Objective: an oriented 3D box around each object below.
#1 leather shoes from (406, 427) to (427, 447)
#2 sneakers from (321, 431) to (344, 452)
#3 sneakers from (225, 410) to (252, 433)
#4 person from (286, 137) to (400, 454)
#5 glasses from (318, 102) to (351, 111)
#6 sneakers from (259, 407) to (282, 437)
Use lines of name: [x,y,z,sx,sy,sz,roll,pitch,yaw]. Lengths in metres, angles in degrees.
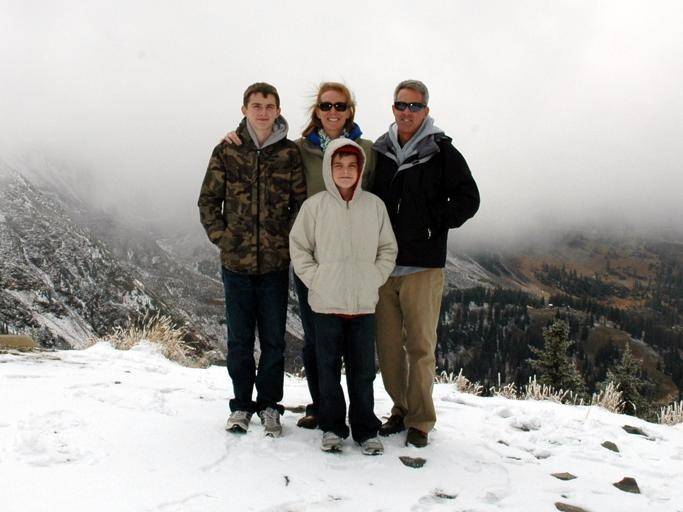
leather shoes: [0.884,2.118,6.086,0.155,0.184,0.266,1,-29,3]
sneakers: [-0.095,2.082,5.850,0.289,0.202,0.207,-1,5,-16]
sneakers: [-1.203,1.928,6.073,0.312,0.221,0.233,-2,5,-21]
person: [0.015,0.435,5.966,1.167,3.539,0.704,0,4,5]
glasses: [-0.107,-1.830,6.382,0.338,0.116,0.056,0,4,-1]
sneakers: [-0.831,1.941,6.091,0.250,0.275,0.312,-1,4,-14]
